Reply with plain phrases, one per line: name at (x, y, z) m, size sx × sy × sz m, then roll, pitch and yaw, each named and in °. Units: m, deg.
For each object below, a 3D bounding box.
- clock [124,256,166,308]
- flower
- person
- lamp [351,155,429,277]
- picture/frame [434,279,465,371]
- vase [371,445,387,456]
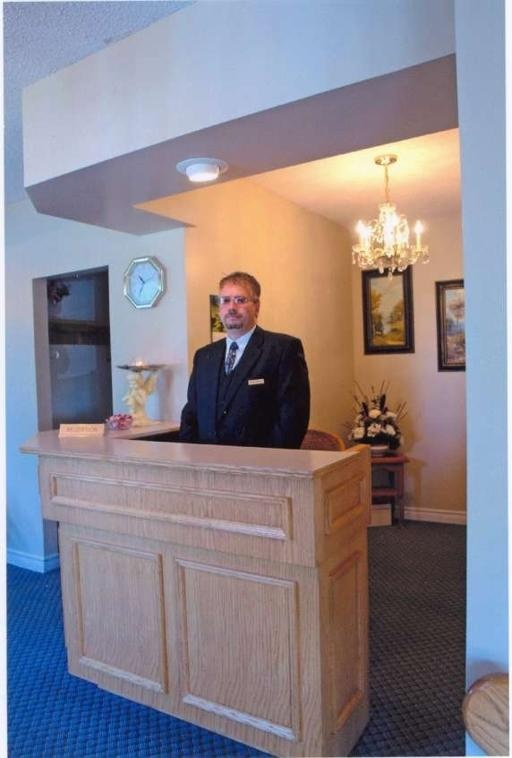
clock at (-0.755, -0.670, 3.984) m, size 0.370 × 0.381 × 0.050 m, roll 0°, pitch 1°, yaw 39°
flower at (1.161, 0.341, 5.803) m, size 0.684 × 0.859 × 0.666 m, roll -5°, pitch -3°, yaw 37°
person at (-0.104, 0.199, 3.149) m, size 0.655 × 1.516 × 0.406 m, roll 0°, pitch -1°, yaw 24°
lamp at (0.953, -1.208, 4.234) m, size 0.487 × 0.865 × 0.499 m, roll -3°, pitch 10°, yaw -7°
picture/frame at (1.820, -0.495, 5.410) m, size 0.136 × 0.841 × 0.307 m, roll -3°, pitch 0°, yaw -40°
vase at (1.131, 0.647, 5.344) m, size 0.110 × 0.059 × 0.113 m, roll 0°, pitch -6°, yaw -5°
